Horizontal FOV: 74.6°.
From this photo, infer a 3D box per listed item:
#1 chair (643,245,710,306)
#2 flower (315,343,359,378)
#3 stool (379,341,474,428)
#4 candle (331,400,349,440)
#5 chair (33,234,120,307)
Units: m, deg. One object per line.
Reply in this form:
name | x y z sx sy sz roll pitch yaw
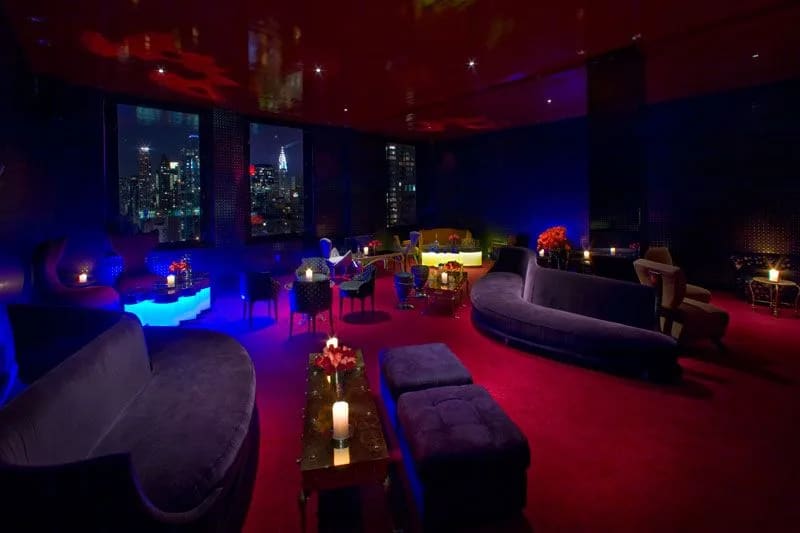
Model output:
chair | 4.598 -0.025 8.724 1.217 1.244 0.757 3 0 24
flower | -0.710 1.056 5.994 0.350 0.214 0.370 -1 2 3
stool | 0.202 1.258 6.089 0.854 0.582 0.859 -3 6 -17
candle | -0.580 1.508 5.144 0.151 0.354 0.119 1 7 -10
chair | -5.077 0.145 8.216 1.096 1.146 0.800 1 2 -37
